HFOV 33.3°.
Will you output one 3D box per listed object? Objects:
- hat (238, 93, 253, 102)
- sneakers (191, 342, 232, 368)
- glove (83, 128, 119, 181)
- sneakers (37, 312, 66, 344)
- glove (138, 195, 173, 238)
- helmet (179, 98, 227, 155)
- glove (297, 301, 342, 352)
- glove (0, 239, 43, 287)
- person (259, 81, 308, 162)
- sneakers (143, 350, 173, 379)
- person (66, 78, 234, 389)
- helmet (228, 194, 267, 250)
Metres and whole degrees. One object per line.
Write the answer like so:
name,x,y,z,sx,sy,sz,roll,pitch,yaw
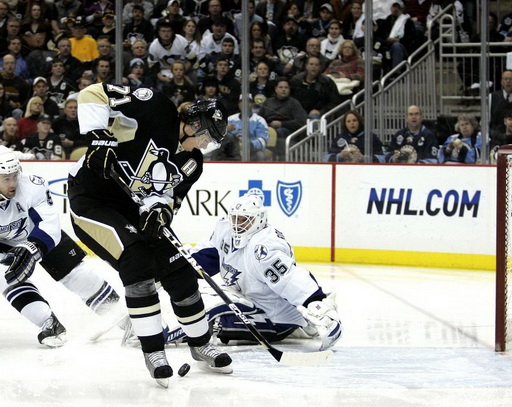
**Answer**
hat,-0.108,-1.196,9.608,0.093,0.093,0.102,1,-6,3
sneakers,-0.305,0.963,5.582,0.121,0.149,0.348,-27,24,-37
glove,-0.954,-0.307,5.335,0.195,0.292,0.215,1,-8,-4
sneakers,-1.420,0.884,5.995,0.178,0.222,0.107,0,9,1
glove,-0.636,0.075,5.419,0.187,0.246,0.118,18,-7,-11
helmet,-0.356,-0.554,5.617,0.285,0.340,0.358,20,28,33
glove,0.451,0.802,5.755,0.335,0.317,0.137,22,-39,-37
glove,-1.581,0.384,5.880,0.201,0.332,0.130,35,-22,5
person,0.244,-0.965,9.636,0.648,0.904,0.494,6,4,15
sneakers,-0.600,1.000,5.309,0.113,0.172,0.178,-6,11,-36
person,-0.662,0.180,5.412,1.014,1.853,0.571,-2,9,-12
helmet,-0.064,0.128,6.092,0.268,0.348,0.342,-7,-8,20
